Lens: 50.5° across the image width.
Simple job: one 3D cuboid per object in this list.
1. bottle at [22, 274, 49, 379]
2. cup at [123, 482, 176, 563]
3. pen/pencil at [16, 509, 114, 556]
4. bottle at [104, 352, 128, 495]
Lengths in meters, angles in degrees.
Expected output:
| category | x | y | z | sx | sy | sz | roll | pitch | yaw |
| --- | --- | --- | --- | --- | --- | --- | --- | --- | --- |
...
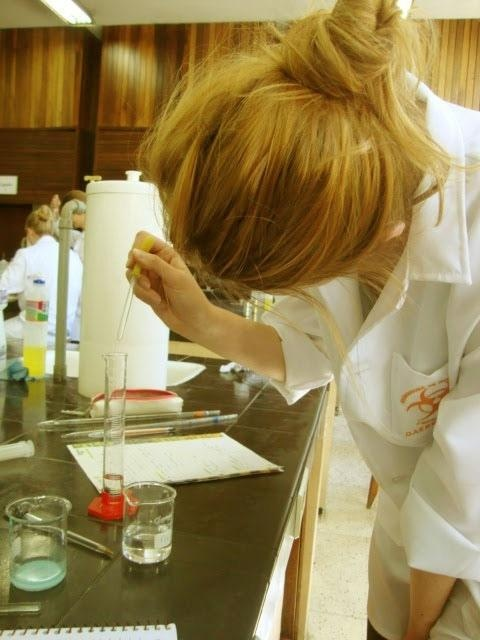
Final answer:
| category | x | y | z | sx | sy | sz | roll | pitch | yaw |
| --- | --- | --- | --- | --- | --- | --- | --- | --- | --- |
| bottle | -0.586 | 0.019 | 1.460 | 0.062 | 0.276 | 0.284 | 2 | 4 | -21 |
| cup | -0.090 | 0.227 | 0.582 | 0.065 | 0.074 | 0.059 | 2 | 8 | 5 |
| pen/pencil | -0.187 | 0.229 | 0.541 | 0.097 | 0.011 | 0.011 | 29 | 49 | 8 |
| bottle | -0.167 | 0.136 | 0.675 | 0.028 | 0.182 | 0.075 | 2 | 4 | -15 |
